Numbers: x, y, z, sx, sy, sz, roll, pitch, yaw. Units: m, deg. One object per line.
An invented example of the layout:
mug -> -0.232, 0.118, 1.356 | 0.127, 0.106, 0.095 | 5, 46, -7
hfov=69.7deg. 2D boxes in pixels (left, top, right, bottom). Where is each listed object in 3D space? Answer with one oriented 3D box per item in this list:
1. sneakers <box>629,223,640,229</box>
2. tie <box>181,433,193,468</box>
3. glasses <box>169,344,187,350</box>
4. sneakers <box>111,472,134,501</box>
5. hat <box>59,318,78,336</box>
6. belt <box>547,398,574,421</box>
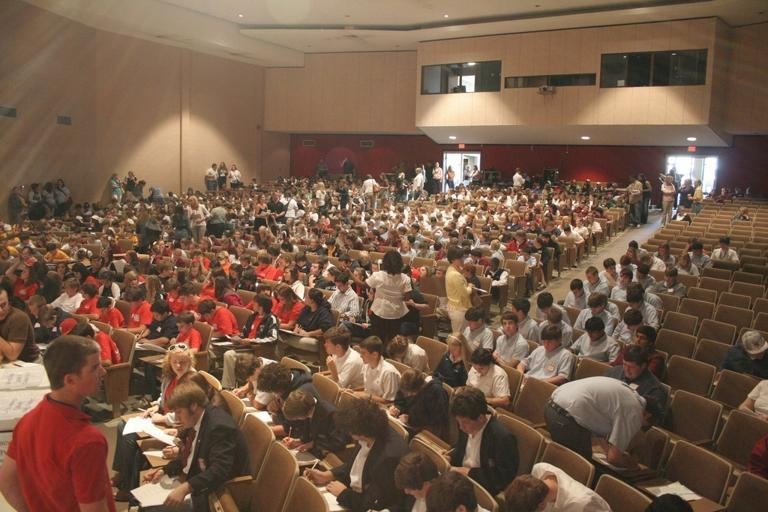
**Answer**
sneakers -> 8.642, -1.043, 19.094 | 0.477, 0.220, 0.170 | 2, -4, -43
tie -> -2.045, 2.018, 5.770 | 0.083, 0.353, 0.245 | 6, -4, -15
glasses -> -2.468, 1.073, 6.617 | 0.188, 0.064, 0.246 | 1, 3, -20
sneakers -> -3.139, 2.725, 6.601 | 0.170, 0.268, 0.522 | 0, 4, -35
hat -> -4.953, 1.103, 8.686 | 0.225, 0.251, 0.528 | 0, 4, -35
belt -> 1.908, 1.744, 6.070 | 0.223, 0.181, 0.225 | 45, 2, -3
